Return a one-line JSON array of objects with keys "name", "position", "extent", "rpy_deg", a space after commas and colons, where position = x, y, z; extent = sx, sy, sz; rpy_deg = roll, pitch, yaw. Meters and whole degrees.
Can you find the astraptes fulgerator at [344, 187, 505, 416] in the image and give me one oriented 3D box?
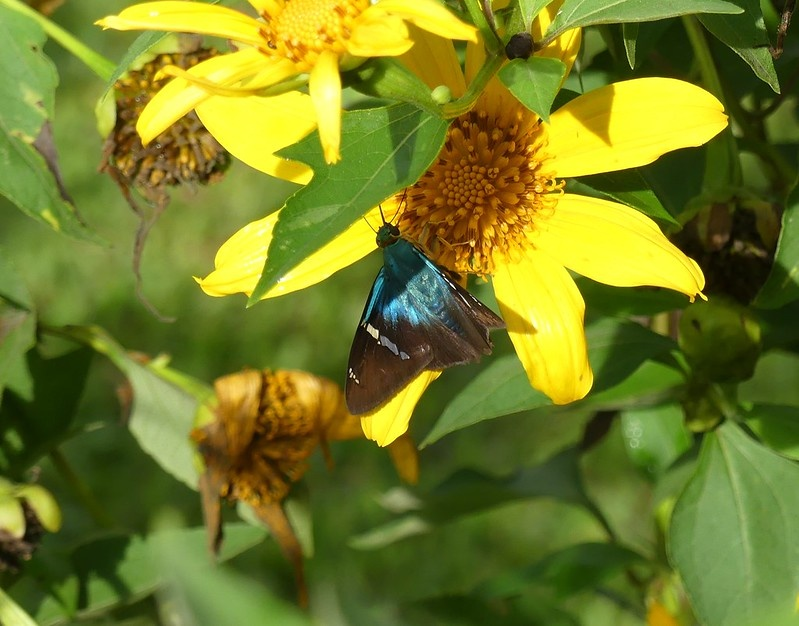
[{"name": "astraptes fulgerator", "position": [0.027, 0.012, 0.661], "extent": [0.138, 0.186, 0.050], "rpy_deg": [32, 28, 31]}]
